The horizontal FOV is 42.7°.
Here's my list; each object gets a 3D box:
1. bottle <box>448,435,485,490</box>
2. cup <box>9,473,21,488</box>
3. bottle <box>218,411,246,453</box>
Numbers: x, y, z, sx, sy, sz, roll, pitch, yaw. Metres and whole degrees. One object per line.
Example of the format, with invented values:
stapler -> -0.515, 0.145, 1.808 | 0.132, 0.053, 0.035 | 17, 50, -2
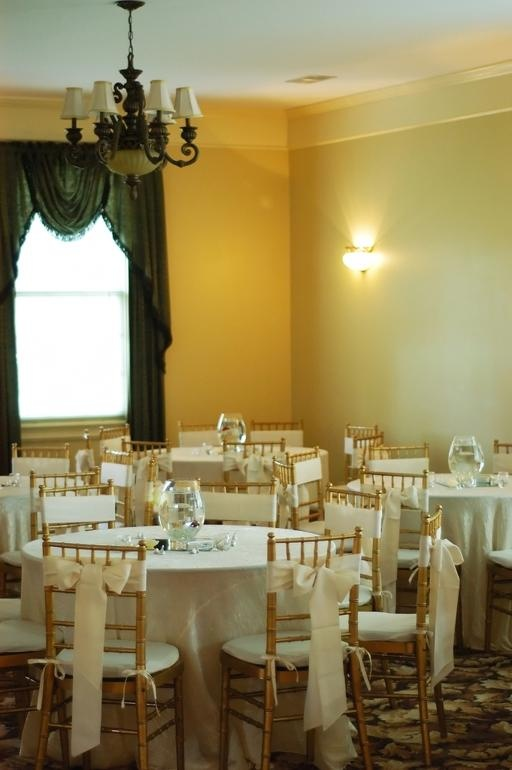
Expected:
bottle -> 1.236, 0.445, 3.742 | 0.222, 0.325, 0.270 | -3, -4, 30
cup -> -1.595, 0.635, 4.351 | 0.071, 0.123, 0.075 | 3, 3, 0
bottle -> -0.234, 0.371, 5.160 | 0.220, 0.323, 0.251 | -3, -2, 21
